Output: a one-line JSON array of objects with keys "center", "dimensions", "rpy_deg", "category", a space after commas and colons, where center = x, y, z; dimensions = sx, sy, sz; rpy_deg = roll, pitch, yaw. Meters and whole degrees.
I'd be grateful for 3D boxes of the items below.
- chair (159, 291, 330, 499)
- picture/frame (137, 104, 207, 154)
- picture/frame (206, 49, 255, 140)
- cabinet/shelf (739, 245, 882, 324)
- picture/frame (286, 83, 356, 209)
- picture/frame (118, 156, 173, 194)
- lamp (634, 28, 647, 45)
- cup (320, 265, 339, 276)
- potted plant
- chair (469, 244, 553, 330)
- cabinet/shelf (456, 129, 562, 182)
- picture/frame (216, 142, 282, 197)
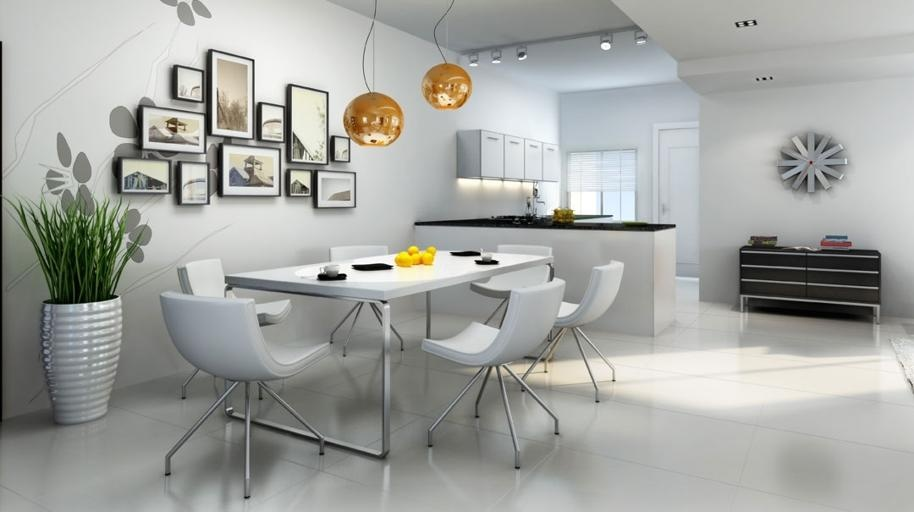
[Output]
[{"center": [-1.743, 1.046, 4.483], "dimensions": [1.229, 1.526, 0.776], "rpy_deg": [1, 6, 8], "category": "chair"}, {"center": [-3.049, -1.328, 5.781], "dimensions": [0.066, 0.425, 0.644], "rpy_deg": [-2, -2, 44], "category": "picture/frame"}, {"center": [-2.572, -1.807, 6.210], "dimensions": [0.536, 0.937, 0.109], "rpy_deg": [-5, 9, -43], "category": "picture/frame"}, {"center": [5.013, 0.397, 7.818], "dimensions": [1.703, 0.929, 0.291], "rpy_deg": [4, 7, 29], "category": "cabinet/shelf"}, {"center": [-1.742, -1.364, 7.010], "dimensions": [0.913, 1.491, 0.111], "rpy_deg": [-5, 8, -43], "category": "picture/frame"}, {"center": [-3.252, -0.827, 5.650], "dimensions": [0.031, 0.325, 0.461], "rpy_deg": [0, -1, 45], "category": "picture/frame"}, {"center": [2.584, -3.079, 7.663], "dimensions": [0.146, 0.229, 0.445], "rpy_deg": [2, 6, 16], "category": "lamp"}, {"center": [-1.150, 0.136, 4.950], "dimensions": [0.148, 0.063, 0.114], "rpy_deg": [-6, -2, 31], "category": "cup"}, {"center": [-3.555, 0.477, 5.197], "dimensions": [0.862, 2.079, 0.734], "rpy_deg": [-4, 8, -37], "category": "potted plant"}, {"center": [0.812, 0.383, 6.848], "dimensions": [1.012, 1.347, 1.043], "rpy_deg": [3, -1, 31], "category": "chair"}, {"center": [0.867, -1.693, 9.428], "dimensions": [1.987, 0.766, 0.379], "rpy_deg": [-4, 8, -41], "category": "cabinet/shelf"}, {"center": [-2.450, -0.994, 6.349], "dimensions": [0.053, 0.512, 0.750], "rpy_deg": [-1, -1, 35], "category": "picture/frame"}]
